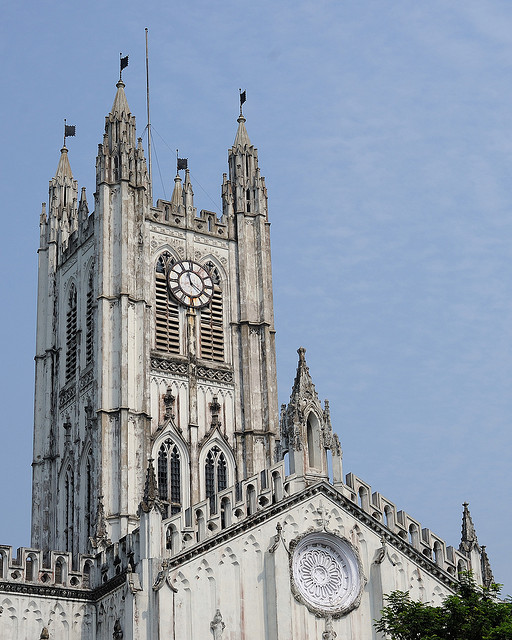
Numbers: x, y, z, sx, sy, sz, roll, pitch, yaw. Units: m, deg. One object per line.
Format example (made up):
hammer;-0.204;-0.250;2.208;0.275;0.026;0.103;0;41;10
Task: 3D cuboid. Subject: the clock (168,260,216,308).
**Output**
clock;-2.639;-1.615;68.278;2.168;2.229;0.394;16;-27;-37
